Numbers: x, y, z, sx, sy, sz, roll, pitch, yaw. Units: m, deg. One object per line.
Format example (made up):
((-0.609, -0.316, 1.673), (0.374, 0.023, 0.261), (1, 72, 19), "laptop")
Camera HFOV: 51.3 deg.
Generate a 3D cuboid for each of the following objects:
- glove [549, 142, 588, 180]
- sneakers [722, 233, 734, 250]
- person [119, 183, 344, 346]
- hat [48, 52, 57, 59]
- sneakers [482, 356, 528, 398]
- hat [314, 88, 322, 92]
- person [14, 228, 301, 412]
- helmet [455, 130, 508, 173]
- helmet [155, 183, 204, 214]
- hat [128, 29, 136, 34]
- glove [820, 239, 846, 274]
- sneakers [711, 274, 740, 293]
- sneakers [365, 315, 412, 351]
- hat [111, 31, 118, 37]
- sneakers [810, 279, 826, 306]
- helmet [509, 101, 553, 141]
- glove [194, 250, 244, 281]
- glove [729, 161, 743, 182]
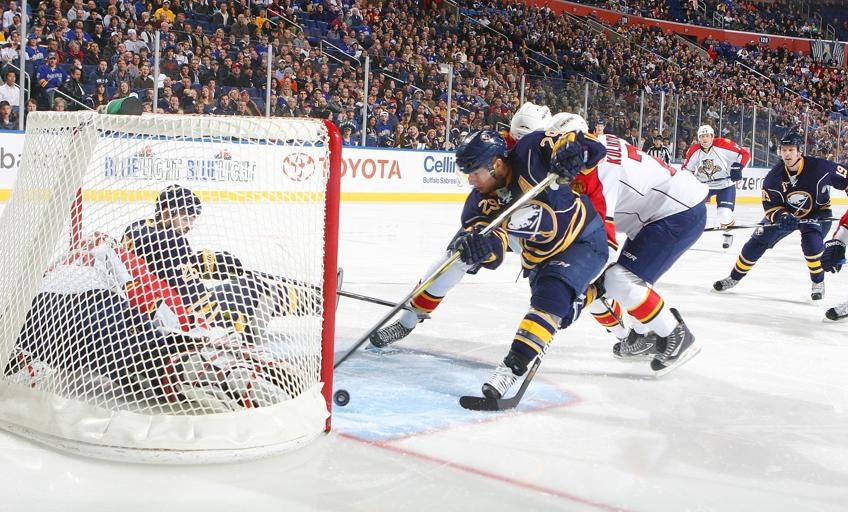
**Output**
((0.831, -0.535, 4.988), (0.229, 0.221, 0.115), (-1, 10, -34), "glove")
((3.591, -0.179, 10.429), (0.104, 0.220, 0.047), (29, -30, -6), "sneakers")
((-0.945, -0.061, 4.617), (1.471, 0.813, 0.535), (-14, -1, 32), "person")
((-4.383, -2.375, 10.434), (0.106, 0.092, 0.167), (2, 9, -19), "hat")
((0.469, 0.674, 4.983), (0.290, 0.234, 0.120), (-2, 11, -38), "sneakers")
((-1.467, -2.303, 12.190), (0.062, 0.043, 0.060), (-1, 1, -16), "hat")
((-1.405, 0.288, 4.615), (1.170, 0.478, 0.899), (4, 4, -3), "person")
((0.319, -0.610, 5.021), (0.273, 0.246, 0.222), (-23, 43, -23), "helmet")
((-1.260, -0.294, 4.560), (0.180, 0.152, 0.148), (-10, 1, -29), "helmet")
((-3.644, -2.812, 11.001), (0.063, 0.066, 0.082), (-2, 22, -17), "hat")
((3.398, 0.006, 7.356), (0.119, 0.261, 0.200), (14, -8, -16), "glove")
((2.653, 0.221, 7.752), (0.316, 0.102, 0.122), (-9, -20, -39), "sneakers")
((-0.157, 0.498, 5.731), (0.404, 0.165, 0.120), (-11, 51, -46), "sneakers")
((-3.838, -2.777, 10.999), (0.125, 0.060, 0.063), (1, 9, -24), "hat")
((3.332, 0.300, 7.502), (0.094, 0.118, 0.281), (-23, 7, 33), "sneakers")
((0.731, -0.900, 5.869), (0.232, 0.260, 0.310), (26, 27, 34), "helmet")
((-1.102, 0.041, 4.719), (0.154, 0.076, 0.204), (16, 1, -44), "glove")
((3.924, -1.055, 11.089), (0.165, 0.244, 0.100), (11, -5, 6), "glove")
